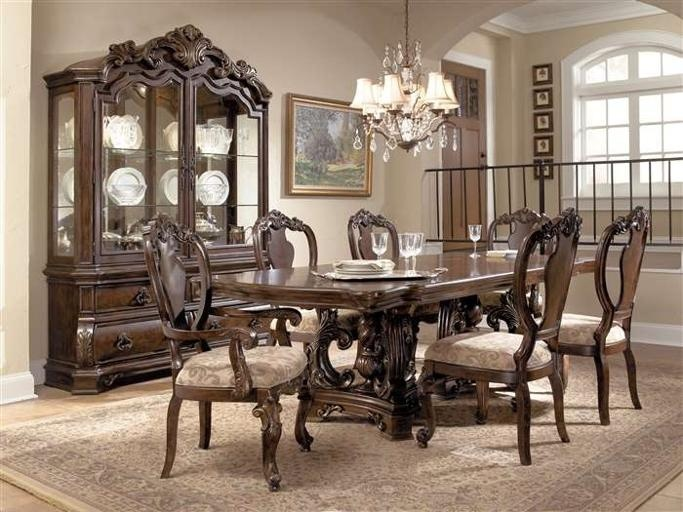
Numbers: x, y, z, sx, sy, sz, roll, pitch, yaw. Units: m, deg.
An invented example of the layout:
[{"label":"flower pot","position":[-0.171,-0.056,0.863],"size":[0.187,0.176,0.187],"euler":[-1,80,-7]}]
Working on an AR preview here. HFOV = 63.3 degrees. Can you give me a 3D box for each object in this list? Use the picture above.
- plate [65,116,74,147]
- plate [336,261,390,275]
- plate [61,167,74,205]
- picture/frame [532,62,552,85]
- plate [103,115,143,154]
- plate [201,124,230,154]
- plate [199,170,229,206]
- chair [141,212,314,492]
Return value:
[{"label":"plate","position":[-1.980,-0.904,4.022],"size":[0.024,0.211,0.116],"euler":[-5,7,-44]},{"label":"plate","position":[0.120,0.053,2.902],"size":[0.309,0.059,0.249],"euler":[-1,4,-3]},{"label":"plate","position":[-1.997,-0.513,4.037],"size":[0.042,0.272,0.160],"euler":[-5,7,-44]},{"label":"picture/frame","position":[2.817,-2.567,7.759],"size":[0.339,0.342,0.027],"euler":[4,7,36]},{"label":"plate","position":[-1.640,-0.931,4.167],"size":[0.040,0.290,0.318],"euler":[3,5,32]},{"label":"plate","position":[-1.070,-0.995,4.748],"size":[0.241,0.264,0.236],"euler":[1,5,-1]},{"label":"plate","position":[-1.099,-0.580,4.712],"size":[0.062,0.268,0.271],"euler":[1,-10,45]},{"label":"chair","position":[-0.631,0.398,3.358],"size":[1.133,1.713,1.135],"euler":[1,3,14]}]
